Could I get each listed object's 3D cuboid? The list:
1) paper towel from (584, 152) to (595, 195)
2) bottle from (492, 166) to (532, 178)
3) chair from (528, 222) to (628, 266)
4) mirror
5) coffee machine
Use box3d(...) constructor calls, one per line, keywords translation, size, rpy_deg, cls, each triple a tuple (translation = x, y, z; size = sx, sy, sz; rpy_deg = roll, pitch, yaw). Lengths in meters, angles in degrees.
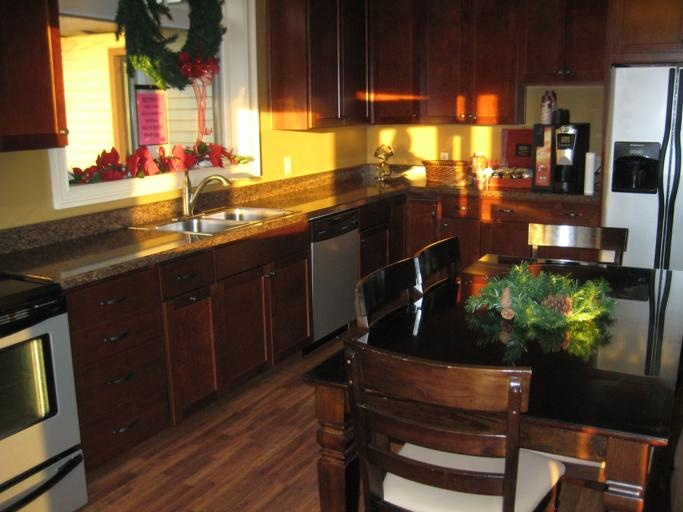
box3d(translation=(2.018, -0.681, 4.451), size=(0.077, 0.319, 0.078), rpy_deg=(4, 6, 23), cls="paper towel")
box3d(translation=(1.539, -0.742, 4.896), size=(0.336, 0.077, 0.240), rpy_deg=(2, 14, 13), cls="bottle")
box3d(translation=(1.460, -0.078, 3.293), size=(0.314, 0.203, 0.126), rpy_deg=(5, 20, 8), cls="chair")
box3d(translation=(-1.311, -0.948, 3.485), size=(0.050, 1.313, 1.324), rpy_deg=(3, 9, 24), cls="mirror")
box3d(translation=(1.809, -0.813, 4.518), size=(0.402, 0.555, 0.187), rpy_deg=(1, 15, 7), cls="coffee machine")
